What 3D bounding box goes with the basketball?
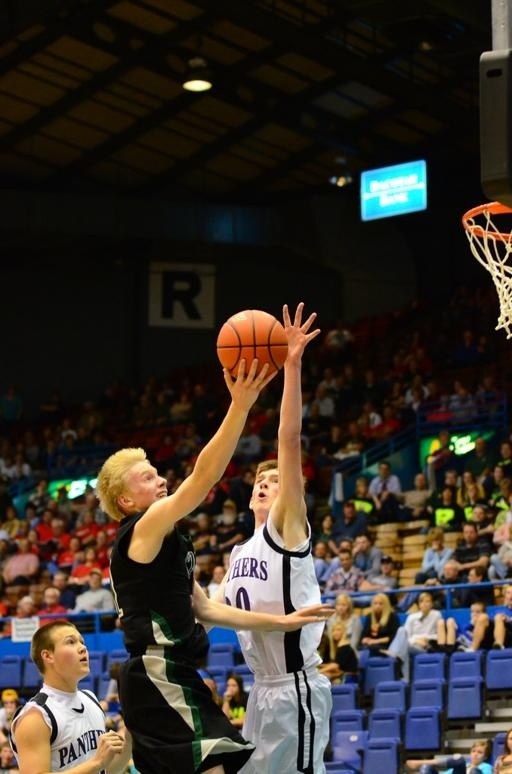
[{"bbox_3d":[-0.023,-0.161,3.062,0.263,0.223,0.232,-1,24,-8],"label":"basketball"}]
